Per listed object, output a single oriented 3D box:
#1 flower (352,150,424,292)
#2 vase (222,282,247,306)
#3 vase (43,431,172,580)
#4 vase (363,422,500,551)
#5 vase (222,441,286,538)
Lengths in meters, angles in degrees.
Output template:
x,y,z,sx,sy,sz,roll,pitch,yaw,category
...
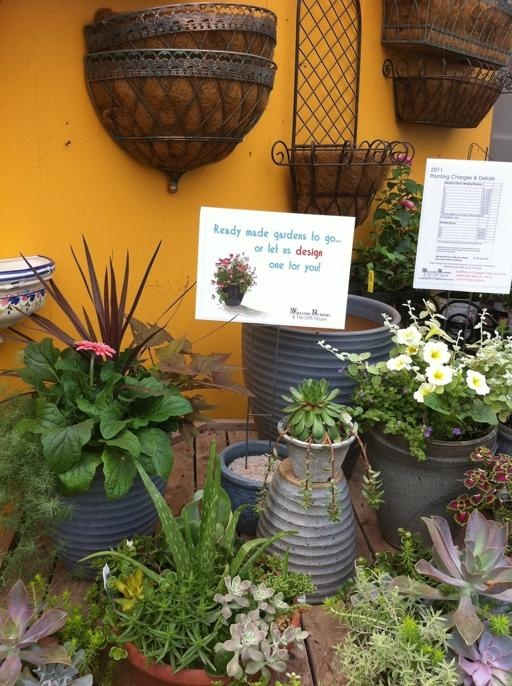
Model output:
x,y,z,sx,sy,sz,roll,pitch,yaw,category
0.567,-0.498,2.301,0.268,0.540,0.570,7,14,13,flower
-0.054,-0.114,1.252,0.051,0.050,0.054,-9,20,-25,vase
-0.371,0.328,1.228,0.266,0.209,0.284,-9,13,-42,vase
0.399,0.311,1.344,0.300,0.294,0.283,2,14,6,vase
-0.035,0.342,1.377,0.235,0.221,0.237,1,7,-1,vase
